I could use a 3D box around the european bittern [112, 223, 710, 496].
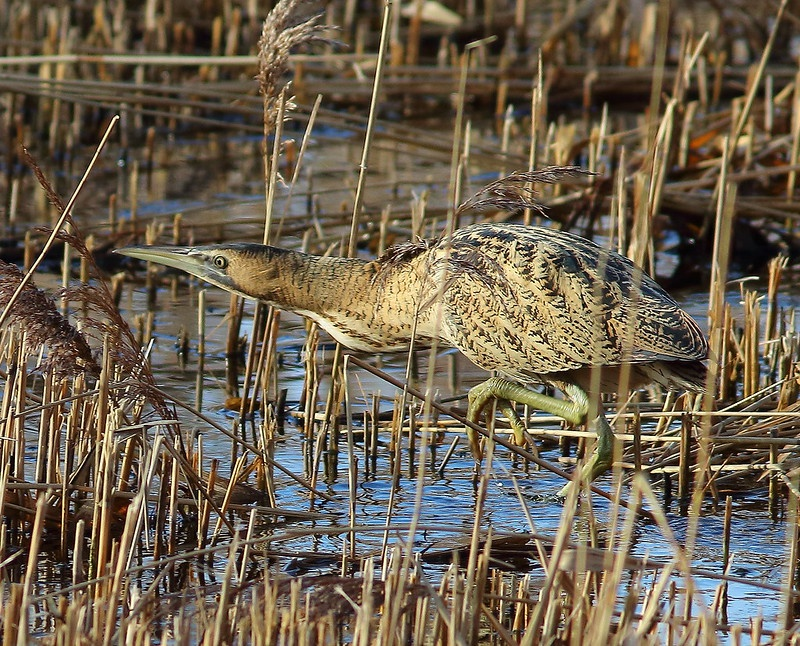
[{"bbox_3d":[0.319,0.141,5.558,1.308,1.156,1.825,-2,5,-45],"label":"european bittern"}]
